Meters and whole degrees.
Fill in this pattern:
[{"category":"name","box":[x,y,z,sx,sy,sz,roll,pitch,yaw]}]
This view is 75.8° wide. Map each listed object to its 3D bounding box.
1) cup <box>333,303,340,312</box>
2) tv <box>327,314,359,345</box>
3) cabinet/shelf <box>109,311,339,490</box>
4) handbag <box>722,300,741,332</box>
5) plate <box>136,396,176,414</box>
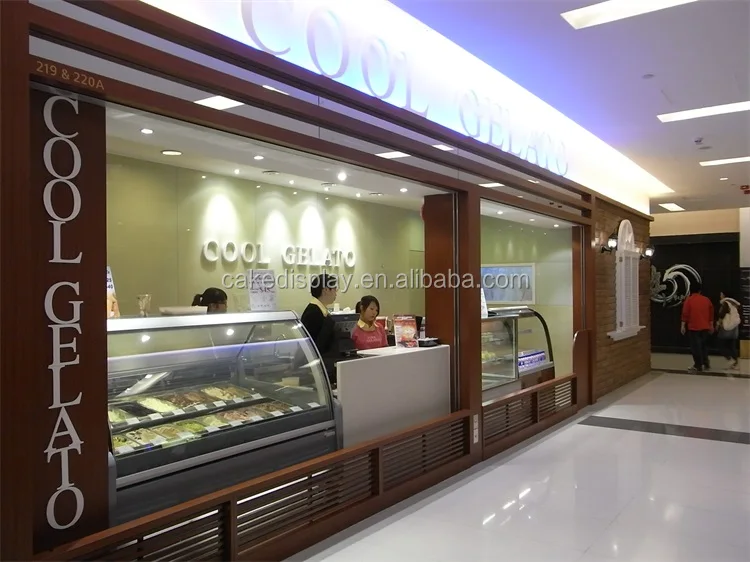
[{"category":"cup","box":[-0.565,0.408,7.396,0.092,0.176,0.092,1,6,0]},{"category":"tv","box":[-0.298,0.453,4.575,0.349,0.354,0.188,-1,2,-27]},{"category":"cabinet/shelf","box":[-0.956,0.637,2.860,0.736,0.862,1.324,8,4,42]},{"category":"handbag","box":[8.148,0.776,11.043,0.295,0.711,0.386,-1,-2,42]},{"category":"plate","box":[-1.188,0.681,2.652,0.026,0.090,0.252,-4,-15,43]}]
